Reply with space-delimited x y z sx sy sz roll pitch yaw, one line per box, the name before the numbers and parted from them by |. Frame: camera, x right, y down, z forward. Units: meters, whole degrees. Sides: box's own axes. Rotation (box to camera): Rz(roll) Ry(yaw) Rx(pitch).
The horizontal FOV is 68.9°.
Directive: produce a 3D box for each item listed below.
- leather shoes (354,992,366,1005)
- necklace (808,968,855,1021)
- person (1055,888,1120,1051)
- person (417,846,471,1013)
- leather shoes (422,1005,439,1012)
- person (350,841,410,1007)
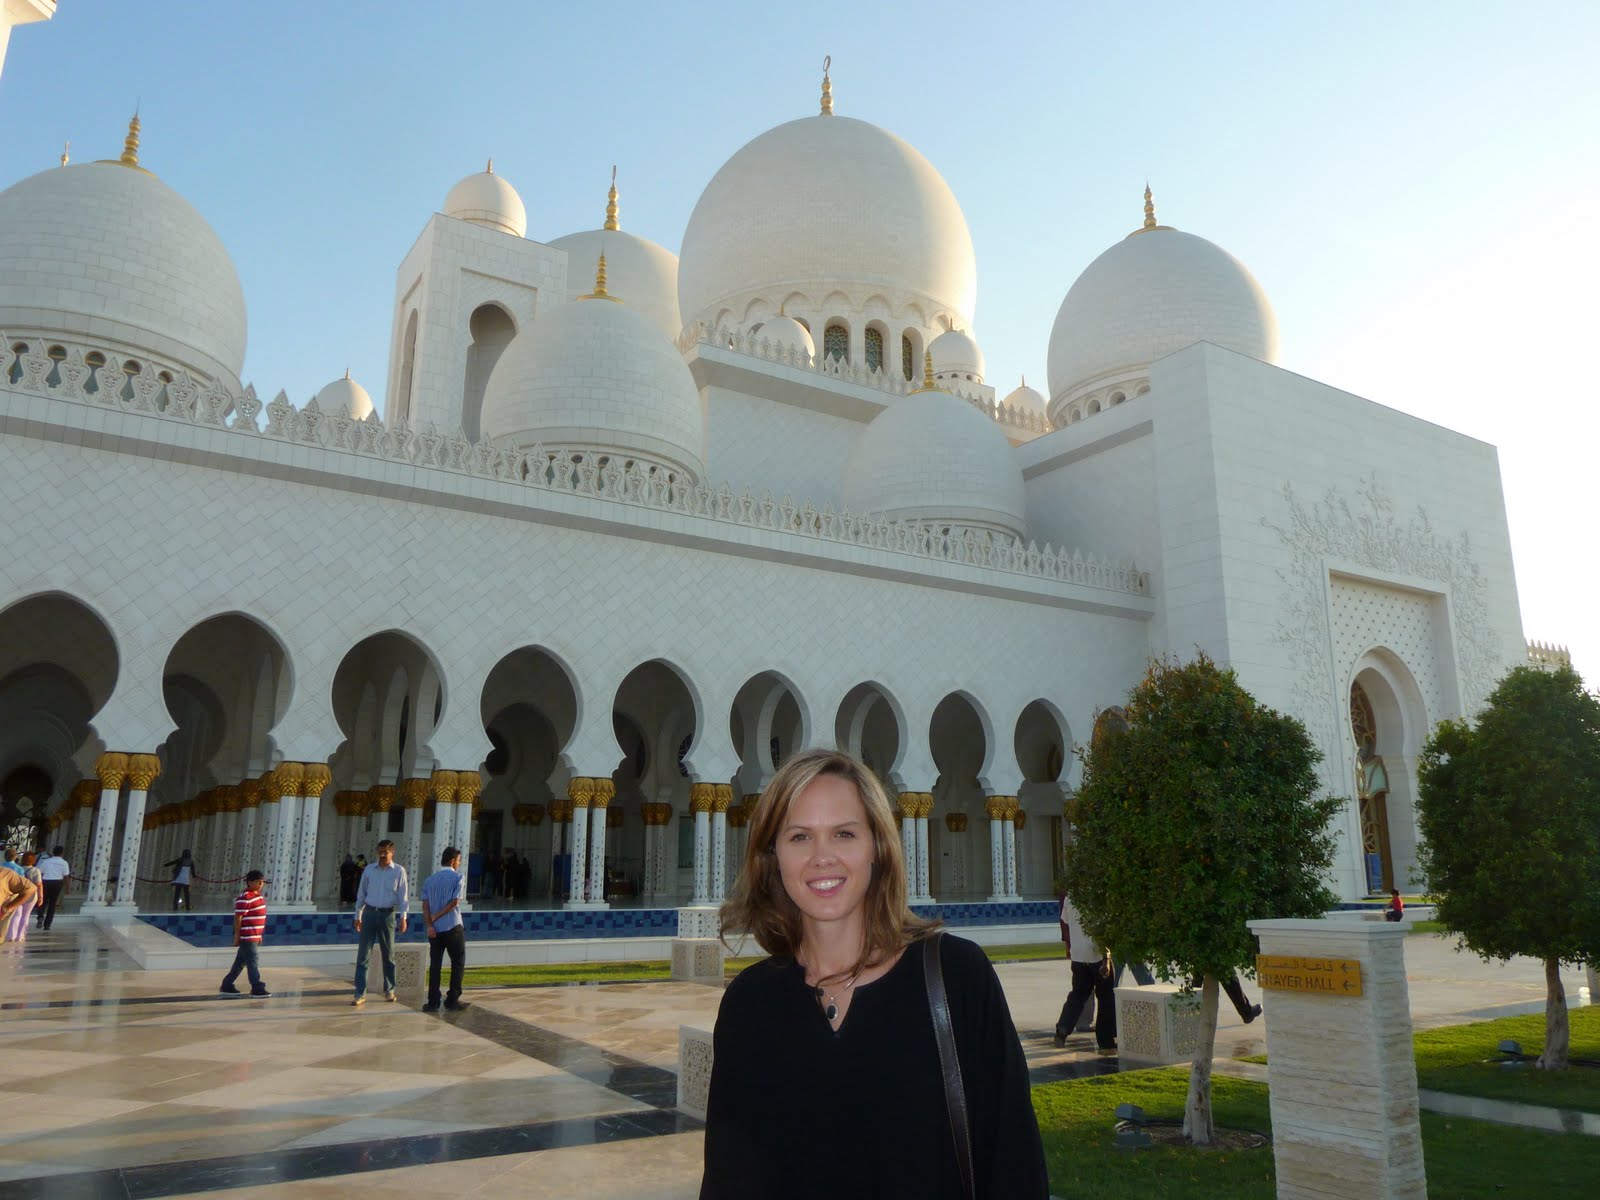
leather shoes | -3.478 3.086 9.130 0.060 0.083 0.169 2 -17 -19
necklace | 0.088 1.020 3.053 0.106 0.119 0.027 -6 -2 29
person | 2.020 2.606 8.233 0.401 0.988 0.748 4 -15 -14
person | -2.833 2.549 9.228 0.340 1.223 1.034 5 -15 -17
leather shoes | -2.804 3.029 8.770 0.126 0.053 0.172 4 -16 -14
person | -3.457 2.589 9.548 0.382 1.270 1.140 5 -15 -20
